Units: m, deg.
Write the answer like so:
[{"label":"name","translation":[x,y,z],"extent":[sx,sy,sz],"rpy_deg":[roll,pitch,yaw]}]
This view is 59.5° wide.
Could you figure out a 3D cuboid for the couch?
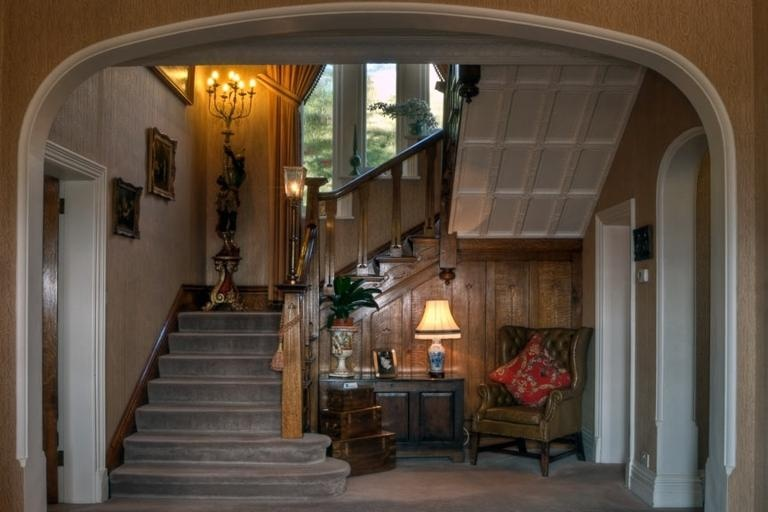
[{"label":"couch","translation":[1.571,1.484,7.134],"extent":[1.082,1.433,1.063],"rpy_deg":[-4,-7,33]}]

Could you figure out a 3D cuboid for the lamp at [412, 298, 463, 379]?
[{"label":"lamp","translation":[0.589,0.896,7.407],"extent":[0.472,0.852,0.498],"rpy_deg":[0,-7,6]}]

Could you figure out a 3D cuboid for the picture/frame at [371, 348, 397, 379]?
[{"label":"picture/frame","translation":[0.002,1.172,7.292],"extent":[0.271,0.347,0.048],"rpy_deg":[4,-35,-9]}]

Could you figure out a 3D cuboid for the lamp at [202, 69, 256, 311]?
[{"label":"lamp","translation":[-1.925,-0.801,8.344],"extent":[0.585,2.789,0.652],"rpy_deg":[3,5,11]}]

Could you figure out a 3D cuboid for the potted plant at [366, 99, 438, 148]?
[{"label":"potted plant","translation":[0.260,-1.862,9.471],"extent":[0.862,0.574,0.642],"rpy_deg":[2,9,-2]}]

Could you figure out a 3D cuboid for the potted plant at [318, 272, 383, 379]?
[{"label":"potted plant","translation":[-0.419,0.804,7.841],"extent":[0.864,1.258,1.010],"rpy_deg":[0,-4,-1]}]
